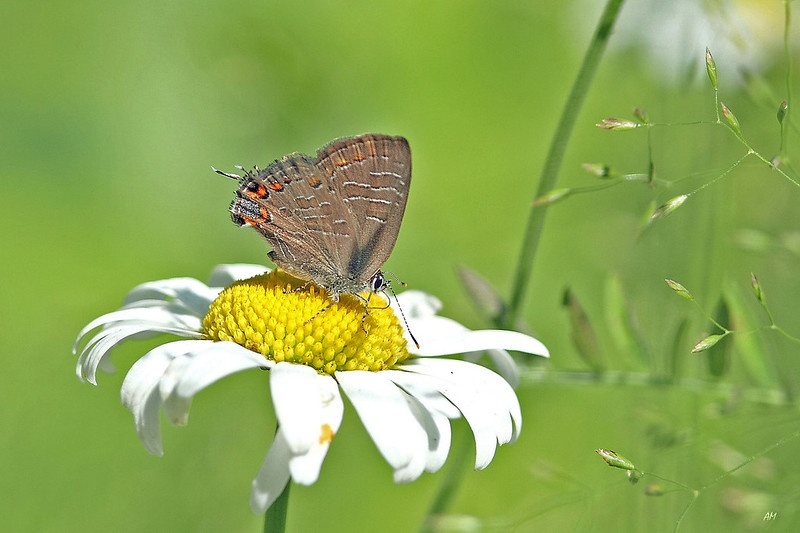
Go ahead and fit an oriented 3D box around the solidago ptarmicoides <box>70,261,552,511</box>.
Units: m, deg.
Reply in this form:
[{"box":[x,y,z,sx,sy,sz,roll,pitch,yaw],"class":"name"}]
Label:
[{"box":[-0.208,0.324,2.309,0.976,0.281,0.895,11,11,-38],"class":"solidago ptarmicoides"}]
